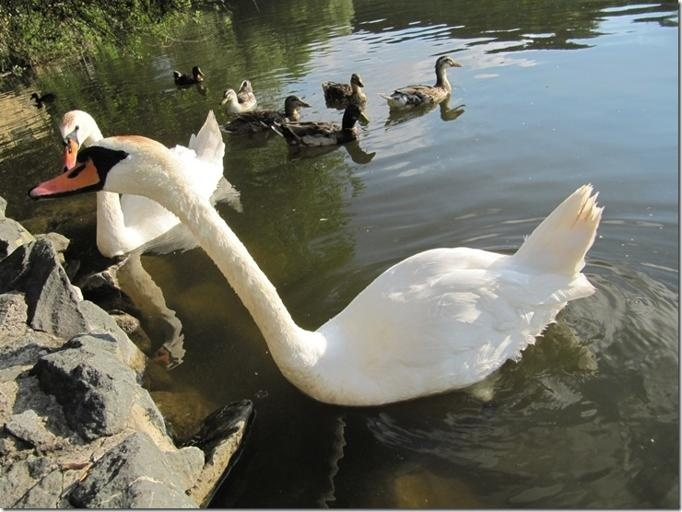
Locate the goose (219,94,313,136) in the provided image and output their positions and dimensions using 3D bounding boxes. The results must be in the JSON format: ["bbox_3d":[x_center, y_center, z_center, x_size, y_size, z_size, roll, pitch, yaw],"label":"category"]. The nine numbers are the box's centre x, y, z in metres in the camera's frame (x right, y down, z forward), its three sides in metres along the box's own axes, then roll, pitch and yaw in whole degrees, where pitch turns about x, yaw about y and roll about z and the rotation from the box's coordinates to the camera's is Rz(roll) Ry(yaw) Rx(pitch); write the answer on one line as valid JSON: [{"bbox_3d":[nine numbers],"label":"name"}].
[{"bbox_3d":[-1.741,-3.222,17.156,2.338,0.883,1.036,-4,19,-6],"label":"goose"}]

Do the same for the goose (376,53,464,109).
[{"bbox_3d":[1.815,-3.891,16.765,2.156,1.130,0.703,-16,32,-31],"label":"goose"}]

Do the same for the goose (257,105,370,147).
[{"bbox_3d":[-0.626,-2.774,15.649,2.433,1.151,0.703,-1,34,-3],"label":"goose"}]

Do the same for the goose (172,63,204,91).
[{"bbox_3d":[-4.495,-5.295,21.835,1.265,0.716,0.559,-4,61,-6],"label":"goose"}]
